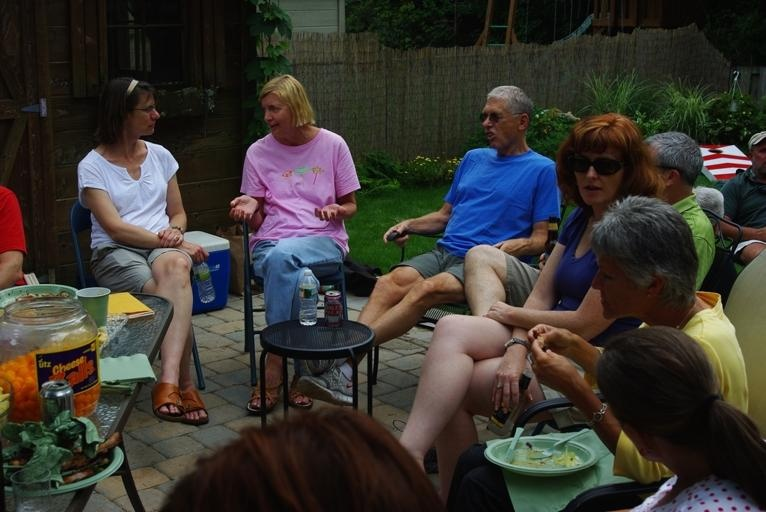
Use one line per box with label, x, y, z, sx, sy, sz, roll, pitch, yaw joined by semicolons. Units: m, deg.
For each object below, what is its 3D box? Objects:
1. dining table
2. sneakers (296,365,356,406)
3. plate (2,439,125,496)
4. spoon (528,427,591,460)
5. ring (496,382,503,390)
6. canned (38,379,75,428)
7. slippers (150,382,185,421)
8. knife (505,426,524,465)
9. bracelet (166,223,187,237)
dining table;-1.077;0.523;2.172;0.316;0.271;1.095;1;18;-9
sneakers;-0.318;0.778;3.684;0.398;0.210;0.173;12;4;10
plate;-0.921;0.627;1.744;0.274;0.038;0.276;-3;13;-3
spoon;0.727;0.773;2.438;0.088;0.063;0.433;4;11;40
ring;0.555;0.625;2.855;0.032;0.029;0.027;3;-3;3
canned;-1.011;0.461;1.847;0.087;0.123;0.069;-3;17;-19
slippers;-1.313;0.898;3.653;0.134;0.126;0.297;2;0;-29
knife;0.530;0.769;2.416;0.044;0.015;0.165;11;32;16
bracelet;-1.497;-0.191;4.331;0.123;0.054;0.094;3;5;-28
